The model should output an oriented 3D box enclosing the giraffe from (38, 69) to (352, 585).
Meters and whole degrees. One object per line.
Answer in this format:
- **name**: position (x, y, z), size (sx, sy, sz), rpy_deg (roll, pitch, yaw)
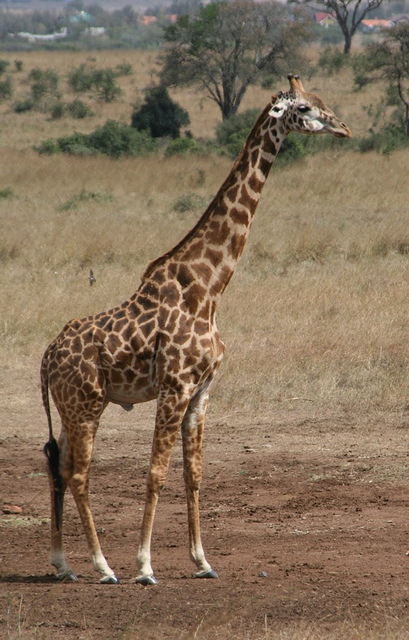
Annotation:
- **giraffe**: position (-0.221, 0.090, 9.068), size (1.914, 3.542, 1.078), rpy_deg (-2, 13, -9)
